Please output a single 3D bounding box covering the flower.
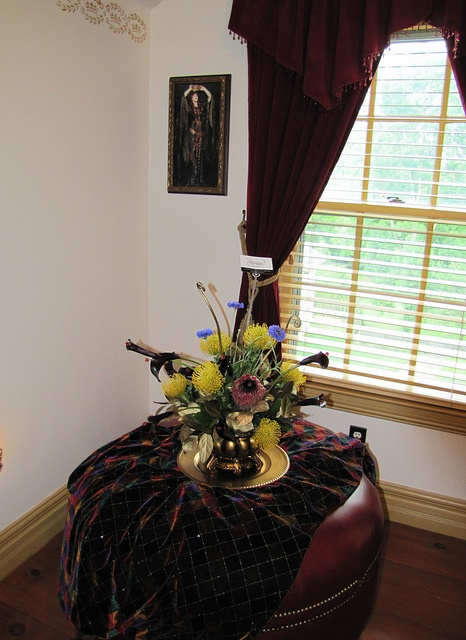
[{"bbox_3d":[0.051,0.177,1.681,0.493,0.629,0.578,14,16,36],"label":"flower"}]

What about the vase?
[{"bbox_3d":[0.008,0.396,1.674,0.179,0.159,0.176,1,10,-2],"label":"vase"}]
